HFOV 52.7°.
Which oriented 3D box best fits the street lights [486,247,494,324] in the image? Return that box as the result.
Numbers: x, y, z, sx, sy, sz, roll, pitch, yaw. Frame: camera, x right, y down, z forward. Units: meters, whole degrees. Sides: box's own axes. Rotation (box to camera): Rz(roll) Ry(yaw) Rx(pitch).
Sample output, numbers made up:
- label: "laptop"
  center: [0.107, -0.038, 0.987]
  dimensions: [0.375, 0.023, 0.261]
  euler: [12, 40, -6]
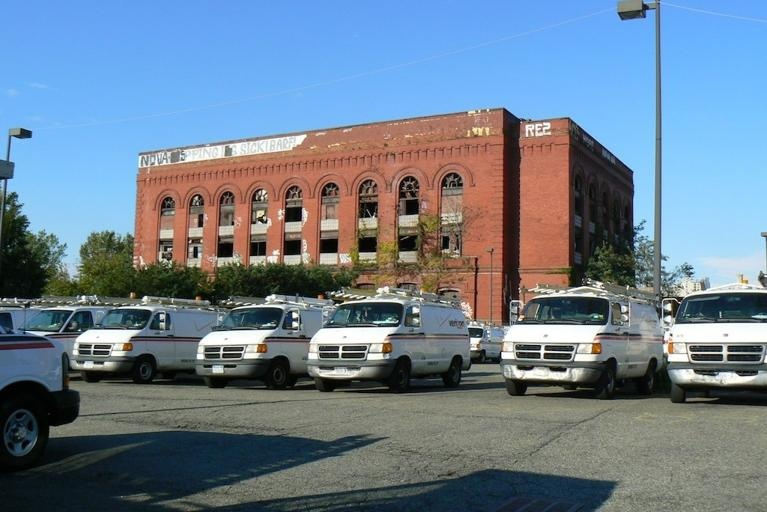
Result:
- label: "street lights"
  center: [7.489, 1.985, 53.697]
  dimensions: [0.291, 5.031, 0.539]
  euler: [2, -3, -37]

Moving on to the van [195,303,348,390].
- label: "van"
  center: [-3.204, 2.655, 22.898]
  dimensions: [2.337, 1.670, 3.603]
  euler: [-5, -11, 24]

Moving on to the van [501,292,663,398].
- label: "van"
  center: [5.417, 2.251, 20.390]
  dimensions: [2.306, 1.863, 4.474]
  euler: [-5, -10, 35]

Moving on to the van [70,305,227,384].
- label: "van"
  center: [-7.277, 2.712, 24.373]
  dimensions: [2.107, 1.623, 4.174]
  euler: [-5, -9, 24]

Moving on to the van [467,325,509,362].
- label: "van"
  center: [5.268, 4.722, 41.438]
  dimensions: [2.167, 1.620, 4.183]
  euler: [-3, -8, 25]

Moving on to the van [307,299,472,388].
- label: "van"
  center: [0.368, 2.506, 21.929]
  dimensions: [2.254, 1.733, 4.424]
  euler: [-6, -12, 30]
